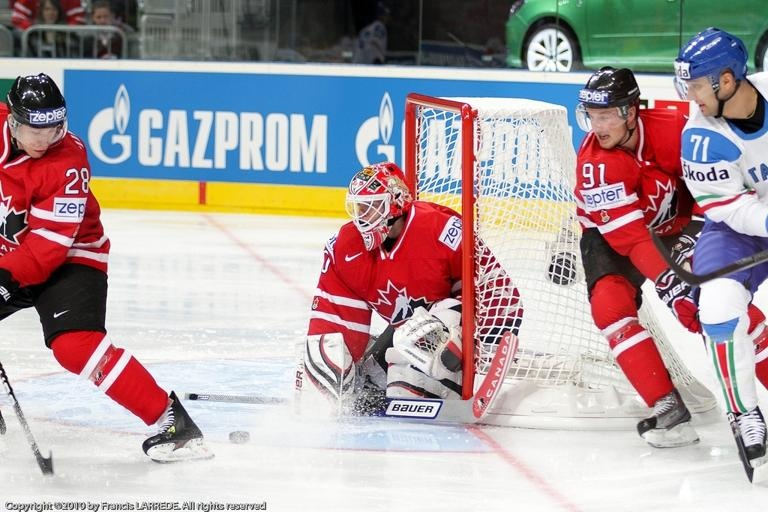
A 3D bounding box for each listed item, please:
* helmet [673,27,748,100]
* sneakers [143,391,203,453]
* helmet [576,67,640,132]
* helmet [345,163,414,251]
[{"bbox_3d":[1.297,-0.772,3.943,0.293,0.269,0.221,-7,14,8],"label":"helmet"},{"bbox_3d":[-0.840,0.690,3.819,0.160,0.242,0.179,9,20,30],"label":"sneakers"},{"bbox_3d":[0.915,-0.652,4.163,0.315,0.296,0.246,1,-1,-19],"label":"helmet"},{"bbox_3d":[-0.023,-0.207,4.268,0.289,0.371,0.160,-10,19,-26],"label":"helmet"}]
